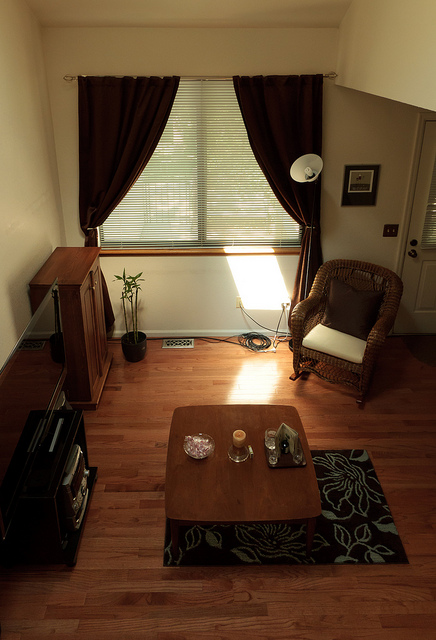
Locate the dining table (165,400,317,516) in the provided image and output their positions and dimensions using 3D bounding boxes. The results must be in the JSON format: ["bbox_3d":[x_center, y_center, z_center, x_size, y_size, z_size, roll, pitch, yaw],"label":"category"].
[{"bbox_3d":[0.124,0.658,2.255,0.716,0.202,0.854,1,29,-1],"label":"dining table"}]

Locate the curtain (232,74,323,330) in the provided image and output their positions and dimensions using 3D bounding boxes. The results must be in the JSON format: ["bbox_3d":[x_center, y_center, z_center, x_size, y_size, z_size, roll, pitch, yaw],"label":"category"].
[{"bbox_3d":[0.542,-1.016,3.809,0.767,1.998,0.325,0,19,-8],"label":"curtain"}]

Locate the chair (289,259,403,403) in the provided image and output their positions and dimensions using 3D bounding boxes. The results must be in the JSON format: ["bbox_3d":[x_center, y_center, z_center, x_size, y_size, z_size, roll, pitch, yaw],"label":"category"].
[{"bbox_3d":[1.024,0.079,3.534,0.721,0.967,0.808,-19,34,-38],"label":"chair"}]

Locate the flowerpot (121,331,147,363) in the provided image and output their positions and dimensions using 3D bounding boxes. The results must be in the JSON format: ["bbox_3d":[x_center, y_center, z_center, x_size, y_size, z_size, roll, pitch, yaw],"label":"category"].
[{"bbox_3d":[-0.751,0.225,3.896,0.208,0.207,0.248,1,31,-2],"label":"flowerpot"}]

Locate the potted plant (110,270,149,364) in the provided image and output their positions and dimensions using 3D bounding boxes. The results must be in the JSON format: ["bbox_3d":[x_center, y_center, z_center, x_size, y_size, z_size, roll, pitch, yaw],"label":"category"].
[{"bbox_3d":[-0.779,-0.093,3.922,0.346,0.826,0.565,-5,28,-11],"label":"potted plant"}]

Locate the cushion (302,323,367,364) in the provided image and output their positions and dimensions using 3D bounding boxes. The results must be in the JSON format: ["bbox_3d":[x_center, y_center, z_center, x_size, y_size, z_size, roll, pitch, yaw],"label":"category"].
[{"bbox_3d":[0.952,0.186,3.425,0.484,0.083,0.294,21,35,30],"label":"cushion"}]

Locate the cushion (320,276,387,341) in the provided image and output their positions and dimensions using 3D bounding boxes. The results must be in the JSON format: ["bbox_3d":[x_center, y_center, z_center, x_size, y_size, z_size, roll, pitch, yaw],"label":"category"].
[{"bbox_3d":[1.138,-0.178,3.590,0.453,0.482,0.357,18,25,27],"label":"cushion"}]

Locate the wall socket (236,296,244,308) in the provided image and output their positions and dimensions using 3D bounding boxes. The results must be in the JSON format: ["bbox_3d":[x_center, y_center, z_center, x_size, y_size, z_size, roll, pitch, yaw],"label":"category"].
[{"bbox_3d":[0.215,-0.179,4.165,0.073,0.121,0.026,0,12,9],"label":"wall socket"}]

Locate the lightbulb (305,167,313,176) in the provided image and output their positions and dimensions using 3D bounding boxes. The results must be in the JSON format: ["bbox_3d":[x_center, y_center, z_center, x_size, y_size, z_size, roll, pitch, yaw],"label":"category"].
[{"bbox_3d":[0.694,-1.140,3.264,0.053,0.100,0.055,10,58,25],"label":"lightbulb"}]

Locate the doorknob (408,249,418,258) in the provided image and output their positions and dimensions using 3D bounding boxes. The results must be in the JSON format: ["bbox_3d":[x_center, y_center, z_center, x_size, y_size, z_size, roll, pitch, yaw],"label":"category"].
[{"bbox_3d":[1.811,-0.626,3.986,0.060,0.074,0.065,-4,42,24],"label":"doorknob"}]

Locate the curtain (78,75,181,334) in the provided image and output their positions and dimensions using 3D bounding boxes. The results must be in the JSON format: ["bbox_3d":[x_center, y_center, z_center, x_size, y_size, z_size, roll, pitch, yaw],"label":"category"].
[{"bbox_3d":[-0.864,-0.983,3.930,0.947,2.259,0.224,-21,49,-38],"label":"curtain"}]
